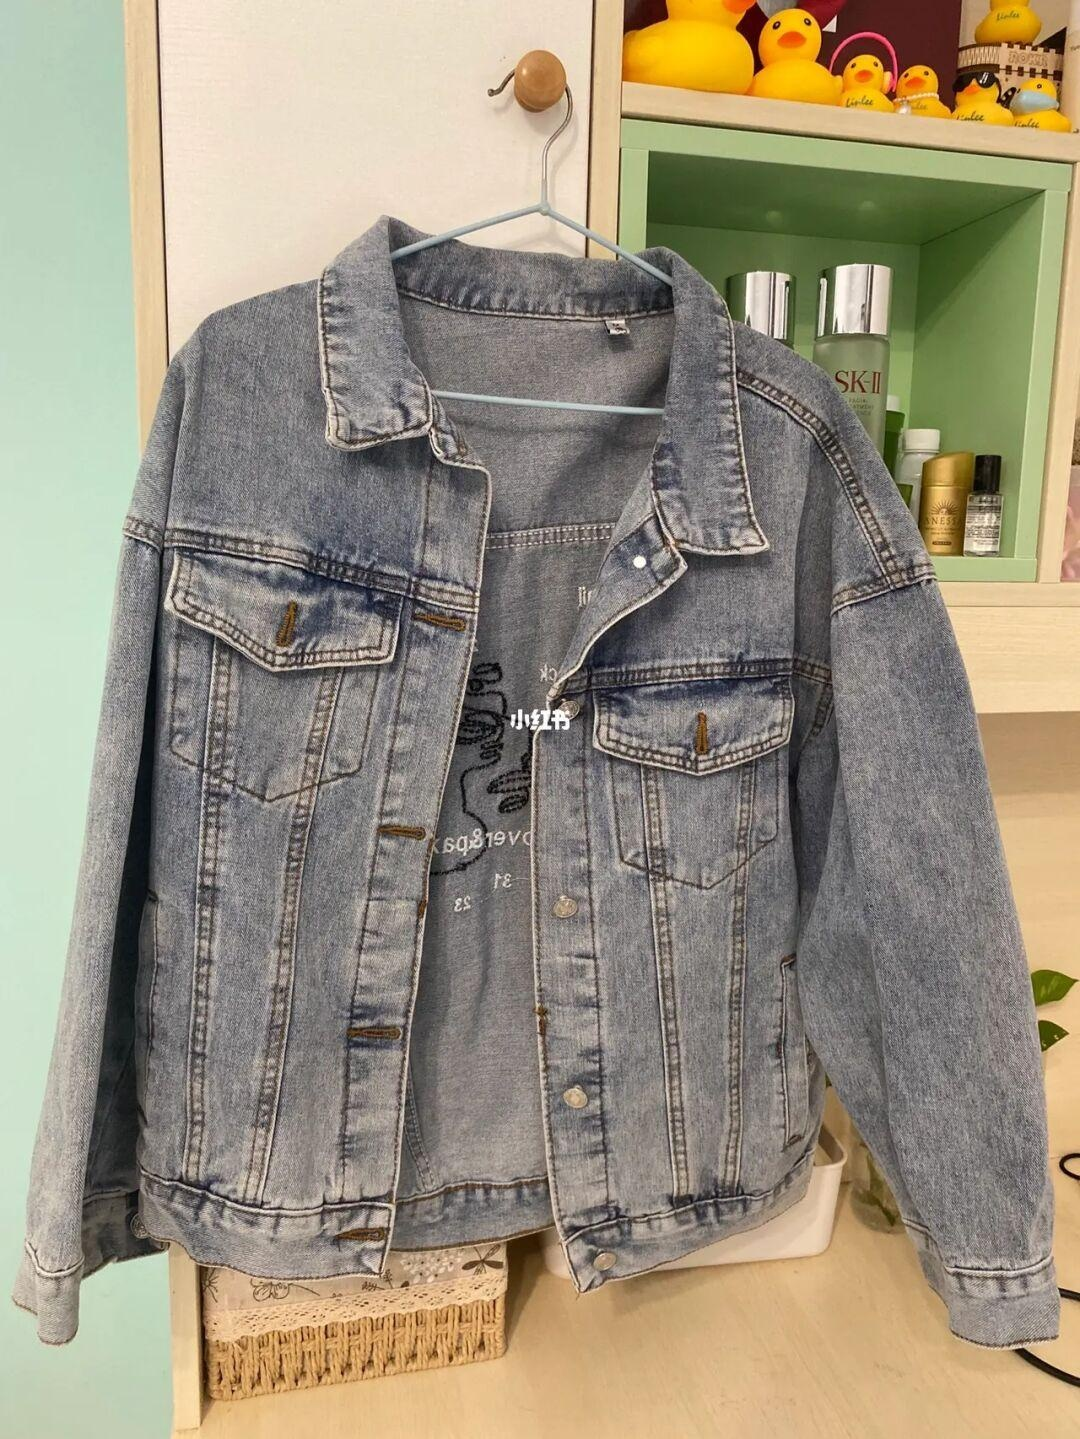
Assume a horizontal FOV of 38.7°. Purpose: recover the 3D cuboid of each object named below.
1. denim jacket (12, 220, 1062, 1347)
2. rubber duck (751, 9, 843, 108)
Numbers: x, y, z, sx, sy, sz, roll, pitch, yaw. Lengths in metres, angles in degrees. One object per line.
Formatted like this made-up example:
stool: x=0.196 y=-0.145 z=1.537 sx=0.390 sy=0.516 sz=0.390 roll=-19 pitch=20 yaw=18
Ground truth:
denim jacket: x=-0.026 y=0.066 z=1.153 sx=0.997 sy=0.823 sz=0.149 roll=2 pitch=5 yaw=-19
rubber duck: x=0.205 y=-0.527 z=1.237 sx=0.069 sy=0.098 sz=0.087 roll=-1 pitch=1 yaw=11
